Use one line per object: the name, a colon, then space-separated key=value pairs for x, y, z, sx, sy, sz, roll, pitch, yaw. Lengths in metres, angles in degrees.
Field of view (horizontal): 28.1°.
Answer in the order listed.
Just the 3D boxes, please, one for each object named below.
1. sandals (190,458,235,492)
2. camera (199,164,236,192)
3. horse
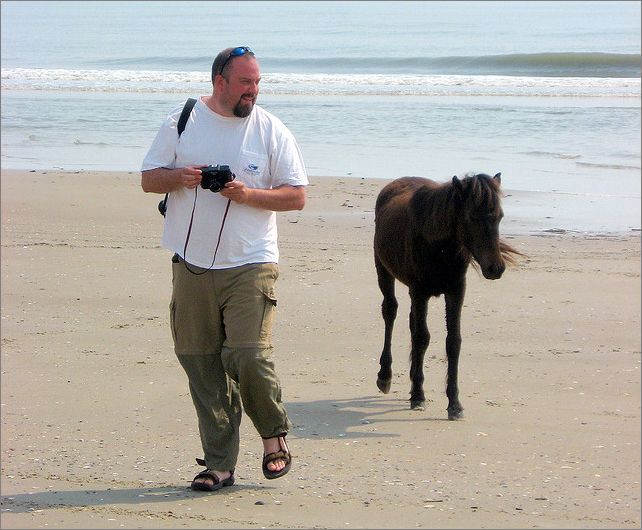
sandals: x=-1.176 y=2.309 z=13.804 sx=0.235 sy=0.222 sz=0.568 roll=-4 pitch=-12 yaw=22
camera: x=-1.064 y=-0.912 z=13.576 sx=0.499 sy=0.300 sz=0.252 roll=-1 pitch=33 yaw=1
horse: x=1.369 y=0.275 z=16.028 sx=1.217 sy=2.929 sz=2.311 roll=-2 pitch=10 yaw=-20
